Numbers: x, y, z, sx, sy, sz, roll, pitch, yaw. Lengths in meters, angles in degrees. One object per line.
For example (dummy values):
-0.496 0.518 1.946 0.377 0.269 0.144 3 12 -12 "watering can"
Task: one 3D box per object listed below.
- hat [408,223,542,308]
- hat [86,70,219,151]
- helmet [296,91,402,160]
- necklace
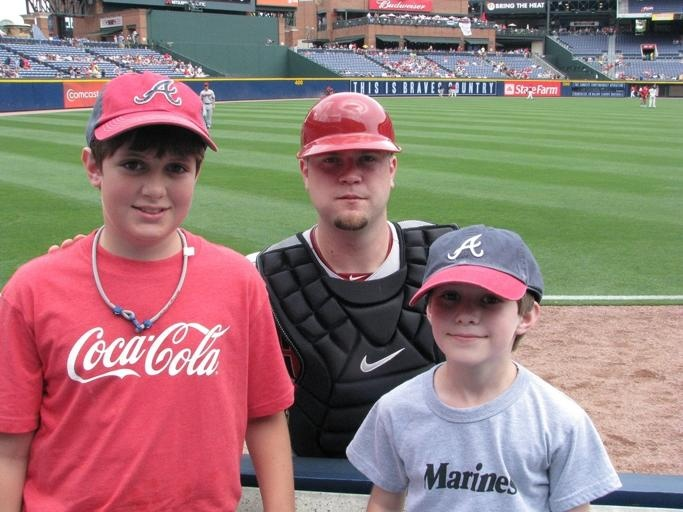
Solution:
0.484 0.035 2.549 0.277 0.176 0.366 -5 -12 35 "hat"
-0.633 -0.480 2.427 0.270 0.163 0.332 4 3 -25 "hat"
0.017 -0.551 3.129 0.311 0.182 0.369 1 5 -4 "helmet"
-0.679 0.099 2.506 0.278 0.345 0.043 -4 -19 -8 "necklace"
